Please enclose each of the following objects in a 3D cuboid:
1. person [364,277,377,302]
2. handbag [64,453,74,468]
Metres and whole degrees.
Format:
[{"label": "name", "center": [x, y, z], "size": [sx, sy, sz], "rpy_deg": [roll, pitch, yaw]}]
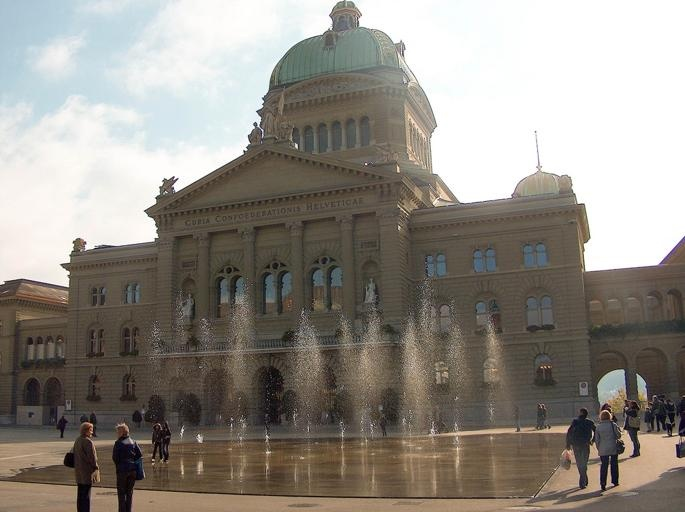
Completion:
[{"label": "person", "center": [2.127, 2.678, 65.656], "size": [0.854, 1.955, 0.966], "rpy_deg": [-1, -4, 23]}, {"label": "handbag", "center": [-9.199, 6.833, 28.464], "size": [0.327, 0.482, 0.703], "rpy_deg": [2, -4, -17]}]
